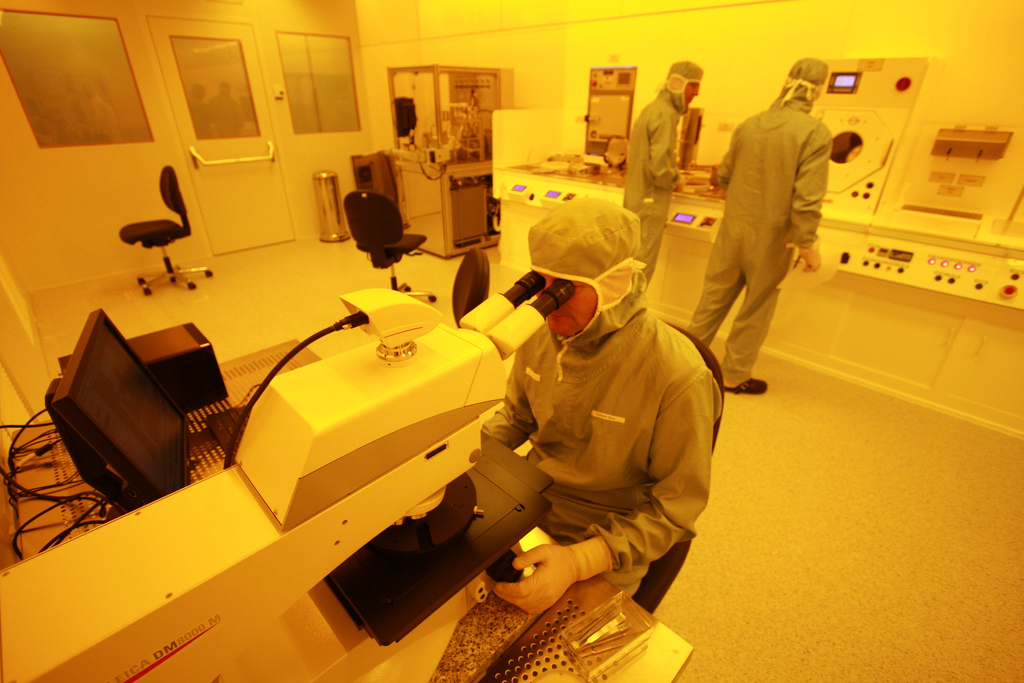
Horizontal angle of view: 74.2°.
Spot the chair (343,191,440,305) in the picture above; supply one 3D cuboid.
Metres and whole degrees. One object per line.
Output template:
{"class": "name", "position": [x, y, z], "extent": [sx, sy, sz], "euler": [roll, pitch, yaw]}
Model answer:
{"class": "chair", "position": [-1.008, -0.776, 5.623], "extent": [0.648, 1.053, 0.683], "euler": [9, 29, 20]}

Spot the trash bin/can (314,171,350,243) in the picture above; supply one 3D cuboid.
{"class": "trash bin/can", "position": [-1.930, -1.452, 7.250], "extent": [0.319, 0.724, 0.344], "euler": [-6, 29, -14]}

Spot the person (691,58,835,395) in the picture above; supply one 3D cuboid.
{"class": "person", "position": [1.638, -0.564, 4.529], "extent": [0.749, 1.847, 0.567], "euler": [17, 32, 26]}

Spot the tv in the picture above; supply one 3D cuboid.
{"class": "tv", "position": [-1.698, 0.327, 2.917], "extent": [0.335, 0.665, 0.774], "euler": [-18, 44, -16]}

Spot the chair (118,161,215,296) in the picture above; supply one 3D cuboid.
{"class": "chair", "position": [-3.153, -1.031, 6.135], "extent": [0.735, 1.135, 0.774], "euler": [-12, 34, -33]}
